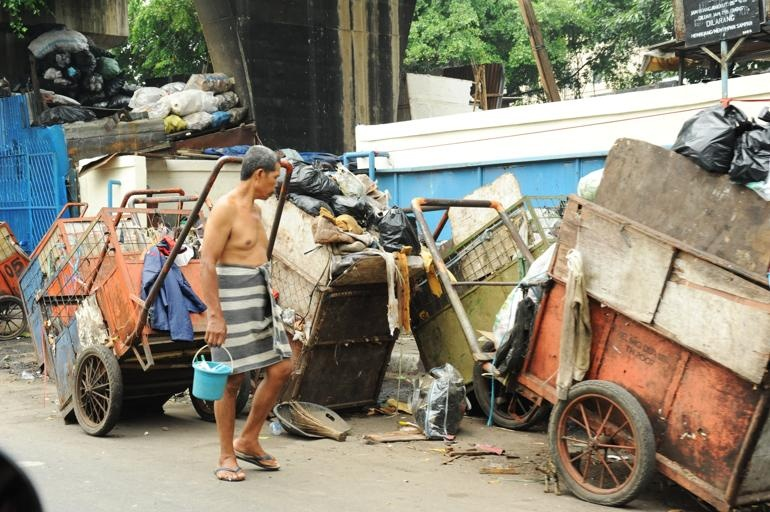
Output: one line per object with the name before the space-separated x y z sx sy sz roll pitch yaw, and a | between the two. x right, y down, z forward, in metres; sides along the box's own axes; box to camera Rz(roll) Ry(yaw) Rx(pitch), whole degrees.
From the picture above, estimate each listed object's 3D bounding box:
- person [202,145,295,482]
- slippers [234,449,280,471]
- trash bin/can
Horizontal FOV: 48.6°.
person | -1.311 0.542 8.034 0.786 3.057 1.143 3 4 26
slippers | -1.167 1.910 7.916 0.427 0.113 0.167 20 4 -9
trash bin/can | -1.145 0.519 9.913 2.356 2.348 1.602 18 6 32
